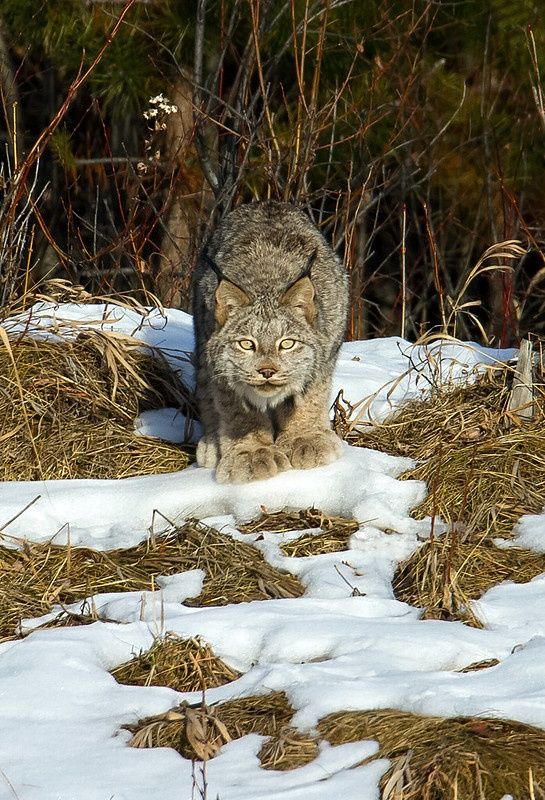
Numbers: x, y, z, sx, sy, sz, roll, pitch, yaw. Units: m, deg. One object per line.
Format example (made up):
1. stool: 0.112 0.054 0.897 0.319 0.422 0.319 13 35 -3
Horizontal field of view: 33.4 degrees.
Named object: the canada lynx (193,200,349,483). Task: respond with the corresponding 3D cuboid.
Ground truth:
1. canada lynx: -0.042 -0.359 4.653 0.882 1.277 1.448 -5 13 4
